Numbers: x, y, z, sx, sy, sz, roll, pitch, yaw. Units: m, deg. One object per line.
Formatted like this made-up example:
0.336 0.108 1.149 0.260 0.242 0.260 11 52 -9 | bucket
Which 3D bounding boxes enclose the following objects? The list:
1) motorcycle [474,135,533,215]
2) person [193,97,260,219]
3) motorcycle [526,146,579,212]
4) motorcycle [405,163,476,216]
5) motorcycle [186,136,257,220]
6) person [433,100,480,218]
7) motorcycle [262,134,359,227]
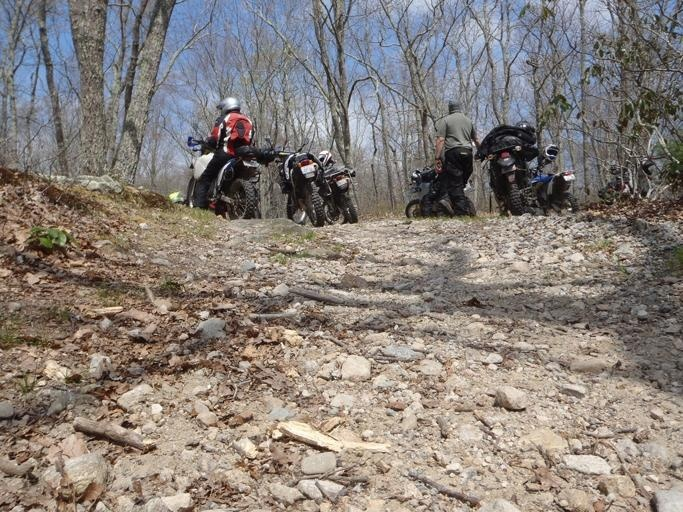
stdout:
2.600 -1.223 8.739 0.628 1.165 0.783 0 3 18 | motorcycle
-1.727 -1.485 8.414 0.995 1.813 0.651 -1 3 -14 | person
3.265 -1.168 8.958 0.697 0.943 1.418 -7 9 -13 | motorcycle
1.766 -1.086 10.008 0.646 1.070 1.678 -5 7 -34 | motorcycle
-2.032 -1.221 8.884 0.826 1.276 2.250 -7 13 -39 | motorcycle
1.859 -1.592 8.980 0.702 1.883 0.919 0 3 11 | person
-0.431 -1.175 9.171 1.281 1.374 1.197 -2 3 -24 | motorcycle
